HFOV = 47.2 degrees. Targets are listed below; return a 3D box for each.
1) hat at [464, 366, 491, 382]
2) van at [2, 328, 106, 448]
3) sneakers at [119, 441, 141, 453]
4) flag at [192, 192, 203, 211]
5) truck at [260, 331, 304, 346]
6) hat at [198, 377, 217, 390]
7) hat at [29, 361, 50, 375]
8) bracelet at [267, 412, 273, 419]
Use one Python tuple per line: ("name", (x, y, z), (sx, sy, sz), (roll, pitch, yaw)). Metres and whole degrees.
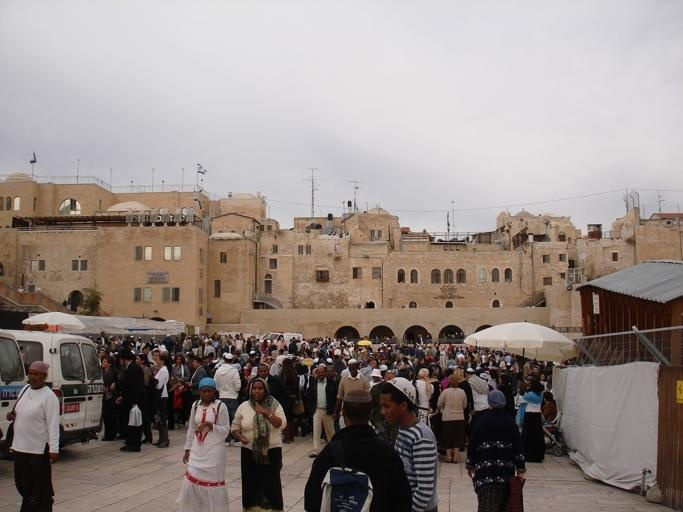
("hat", (3.216, 2.813, 18.465), (0.464, 0.274, 0.655), (8, -7, -41))
("van", (-5.522, 2.523, 15.770), (2.589, 1.492, 1.572), (2, -1, 33))
("sneakers", (-4.618, 4.139, 17.010), (0.487, 0.189, 0.262), (-2, -6, 16))
("flag", (-12.919, -4.946, 69.883), (0.479, 1.309, 1.333), (-9, -1, 2))
("truck", (-2.958, 4.193, 40.356), (2.248, 0.990, 1.542), (5, -8, -23))
("hat", (-2.082, 1.953, 12.071), (0.284, 0.176, 0.282), (5, -5, -4))
("hat", (-4.622, 1.677, 11.927), (0.220, 0.227, 0.297), (4, 5, 11))
("bracelet", (-1.098, 2.417, 11.829), (0.046, 0.061, 0.054), (18, 16, 26))
